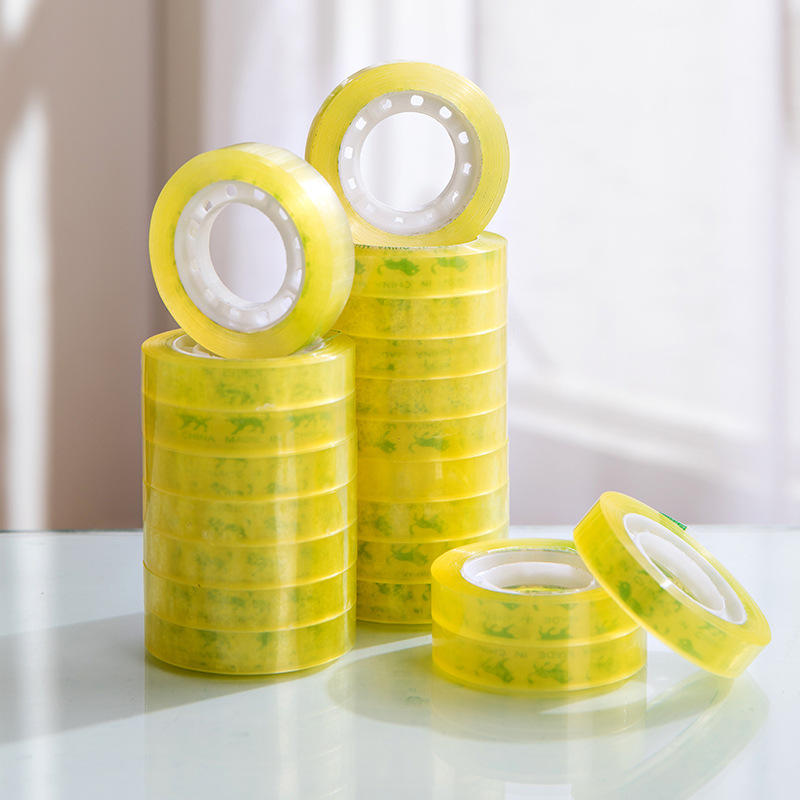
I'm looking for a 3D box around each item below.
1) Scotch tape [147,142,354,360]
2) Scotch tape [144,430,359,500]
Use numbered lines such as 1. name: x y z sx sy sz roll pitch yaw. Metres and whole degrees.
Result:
1. Scotch tape: -0.088 -0.082 0.569 0.111 0.113 0.035 -1 3 -9
2. Scotch tape: -0.096 0.042 0.622 0.138 0.040 0.141 -6 -8 34
